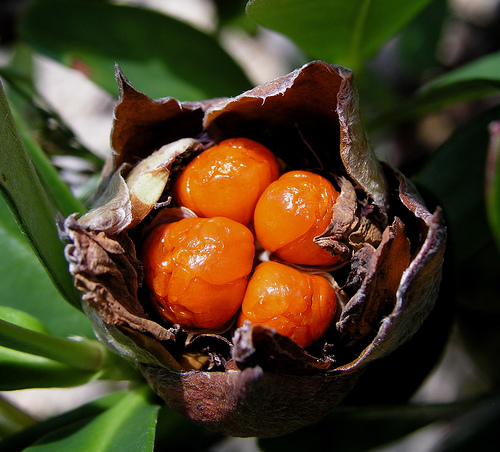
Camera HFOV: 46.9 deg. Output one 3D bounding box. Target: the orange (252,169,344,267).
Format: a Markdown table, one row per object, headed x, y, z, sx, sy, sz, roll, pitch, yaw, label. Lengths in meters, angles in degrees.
| x | y | z | sx | sy | sz | roll | pitch | yaw | label |
| --- | --- | --- | --- | --- | --- | --- | --- | --- | --- |
| 0.080 | -0.008 | 1.091 | 0.198 | 0.166 | 0.119 | 15 | 73 | -32 | orange |

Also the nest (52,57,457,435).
| x | y | z | sx | sy | sz | roll | pitch | yaw | label |
| --- | --- | --- | --- | --- | --- | --- | --- | --- | --- |
| 0.021 | 0.028 | 1.009 | 0.611 | 0.265 | 0.664 | -18 | 73 | -3 | nest |

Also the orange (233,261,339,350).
| x | y | z | sx | sy | sz | roll | pitch | yaw | label |
| --- | --- | --- | --- | --- | --- | --- | --- | --- | --- |
| 0.067 | 0.137 | 1.025 | 0.170 | 0.092 | 0.145 | 14 | 75 | 6 | orange |

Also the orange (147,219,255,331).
| x | y | z | sx | sy | sz | roll | pitch | yaw | label |
| --- | --- | --- | --- | --- | --- | --- | --- | --- | --- |
| -0.083 | 0.084 | 1.056 | 0.197 | 0.122 | 0.182 | 10 | 94 | 4 | orange |
